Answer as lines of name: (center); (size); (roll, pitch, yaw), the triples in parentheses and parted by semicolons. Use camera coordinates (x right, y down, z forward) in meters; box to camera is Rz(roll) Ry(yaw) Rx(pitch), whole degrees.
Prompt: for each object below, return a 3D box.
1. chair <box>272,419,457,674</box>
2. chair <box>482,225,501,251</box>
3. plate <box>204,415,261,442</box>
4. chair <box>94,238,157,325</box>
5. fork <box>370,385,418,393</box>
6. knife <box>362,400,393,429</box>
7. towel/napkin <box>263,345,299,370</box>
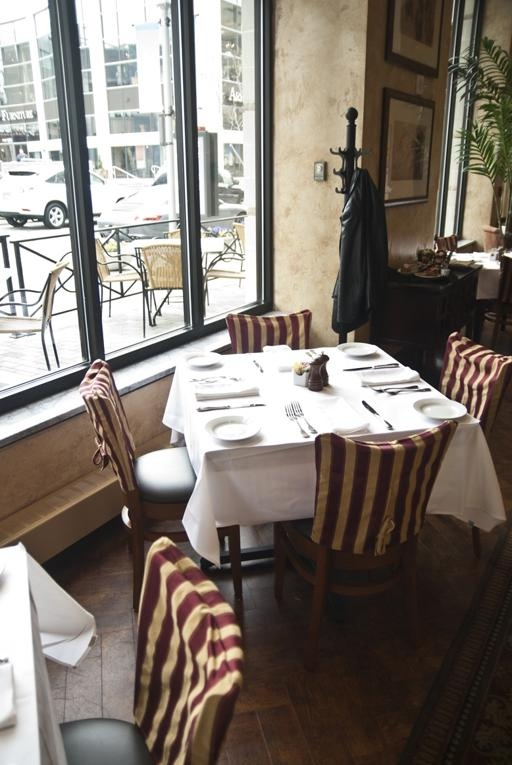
chair: (0.326, 0.520, 1.696); (0.449, 0.907, 0.534); (-5, 25, -11)
chair: (2.550, -1.537, 5.859); (0.219, 0.255, 0.164); (16, 28, 36)
plate: (-0.075, 0.148, 1.742); (0.168, 0.038, 0.201); (-6, 25, -9)
chair: (-0.802, -0.644, 3.258); (0.356, 0.590, 0.335); (-5, 31, -14)
fork: (0.557, 0.026, 2.120); (0.126, 0.023, 0.066); (-5, 12, -7)
knife: (0.424, 0.114, 1.864); (0.025, 0.028, 0.194); (-9, 30, -6)
towel/napkin: (0.113, -0.116, 2.550); (0.088, 0.032, 0.166); (-6, 26, -7)
